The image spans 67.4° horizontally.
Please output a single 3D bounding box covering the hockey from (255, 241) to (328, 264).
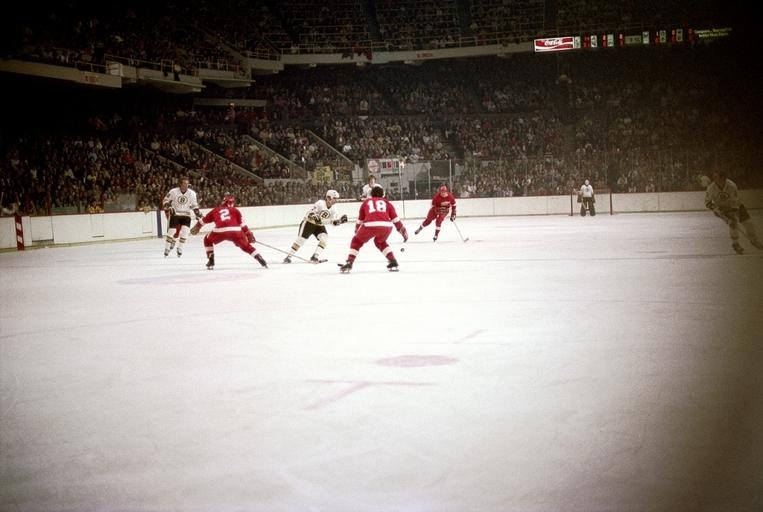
[{"bbox_3d":[-2.709,-0.110,17.216,0.253,0.136,1.494,6,-19,44],"label":"hockey"}]

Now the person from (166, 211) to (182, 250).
[{"bbox_3d":[-6.674,-0.814,18.445,0.337,1.574,0.460,4,10,-13],"label":"person"}]

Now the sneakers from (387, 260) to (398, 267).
[{"bbox_3d":[0.237,0.167,12.631,0.229,0.202,0.226,0,8,8],"label":"sneakers"}]

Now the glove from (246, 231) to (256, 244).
[{"bbox_3d":[-3.220,-0.432,13.882,0.082,0.285,0.276,-26,7,8],"label":"glove"}]

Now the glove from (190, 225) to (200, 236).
[{"bbox_3d":[-4.932,-0.746,15.159,0.291,0.111,0.425,4,-13,-19],"label":"glove"}]

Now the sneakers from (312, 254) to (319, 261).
[{"bbox_3d":[-1.694,0.038,14.505,0.144,0.169,0.169,2,0,36],"label":"sneakers"}]

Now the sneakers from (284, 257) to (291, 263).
[{"bbox_3d":[-2.486,0.094,15.189,0.178,0.147,0.133,8,15,31],"label":"sneakers"}]
